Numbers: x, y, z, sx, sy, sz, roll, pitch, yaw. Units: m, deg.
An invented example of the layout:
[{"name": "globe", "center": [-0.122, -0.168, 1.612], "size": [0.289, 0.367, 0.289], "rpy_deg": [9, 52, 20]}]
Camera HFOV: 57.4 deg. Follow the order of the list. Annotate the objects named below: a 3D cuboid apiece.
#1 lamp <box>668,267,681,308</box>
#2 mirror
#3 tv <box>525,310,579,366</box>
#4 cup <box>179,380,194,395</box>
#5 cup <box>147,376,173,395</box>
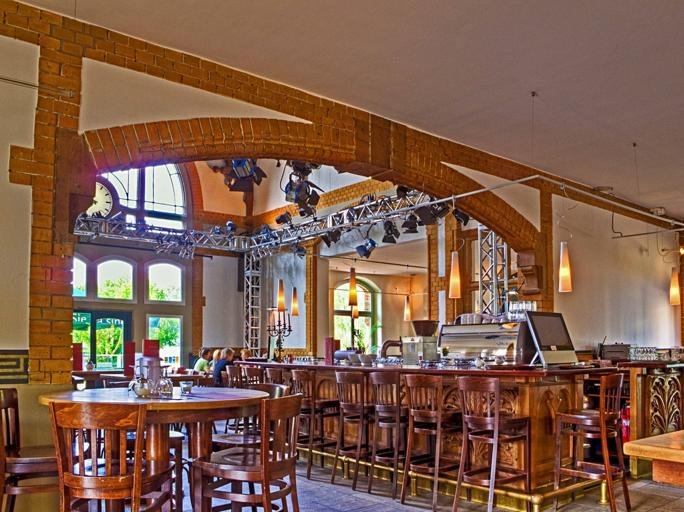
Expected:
[{"name": "lamp", "center": [6.167, 0.518, 11.621], "size": [0.166, 0.713, 0.854], "rpy_deg": [-5, -9, 26]}, {"name": "mirror", "center": [-1.530, 1.096, 15.600], "size": [0.464, 4.292, 2.407], "rpy_deg": [6, -13, -29]}, {"name": "tv", "center": [2.461, 0.962, 7.412], "size": [0.843, 0.798, 0.318], "rpy_deg": [12, -24, -38]}, {"name": "cup", "center": [-1.395, 1.172, 5.584], "size": [0.107, 0.087, 0.106], "rpy_deg": [0, -10, 0]}, {"name": "cup", "center": [-1.539, 1.103, 5.309], "size": [0.193, 0.141, 0.118], "rpy_deg": [1, -3, -15]}]
